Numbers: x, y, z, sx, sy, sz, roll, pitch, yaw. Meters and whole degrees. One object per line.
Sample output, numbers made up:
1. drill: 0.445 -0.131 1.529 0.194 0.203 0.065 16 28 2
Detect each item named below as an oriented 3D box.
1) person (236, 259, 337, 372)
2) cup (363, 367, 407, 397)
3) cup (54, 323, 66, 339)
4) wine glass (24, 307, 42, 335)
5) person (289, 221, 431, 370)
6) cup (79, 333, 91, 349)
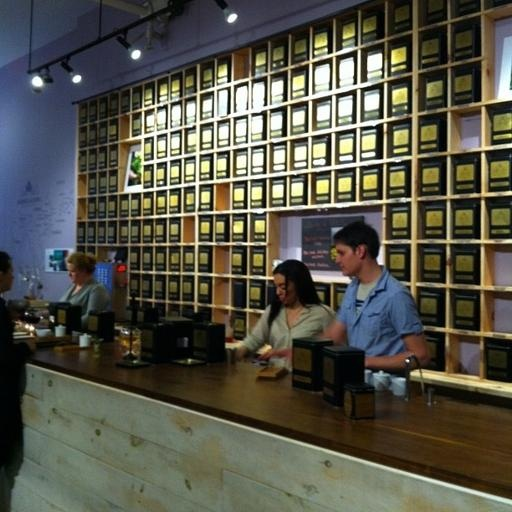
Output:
1. person: 0.101 0.326 3.269 0.555 0.983 0.548 3 -2 -41
2. cup: 0.519 0.498 2.027 0.162 0.074 0.110 1 -2 43
3. cup: -1.299 0.493 3.319 0.073 0.095 0.074 1 -1 0
4. wine glass: -1.760 0.512 3.944 0.052 0.202 0.078 -10 6 -12
5. person: 0.519 0.224 2.673 0.525 0.992 0.688 1 -4 2
6. cup: -1.055 0.536 3.101 0.053 0.082 0.074 2 -1 6
